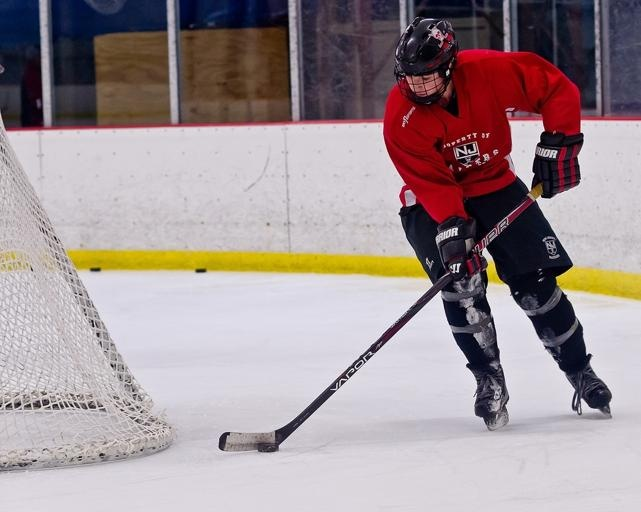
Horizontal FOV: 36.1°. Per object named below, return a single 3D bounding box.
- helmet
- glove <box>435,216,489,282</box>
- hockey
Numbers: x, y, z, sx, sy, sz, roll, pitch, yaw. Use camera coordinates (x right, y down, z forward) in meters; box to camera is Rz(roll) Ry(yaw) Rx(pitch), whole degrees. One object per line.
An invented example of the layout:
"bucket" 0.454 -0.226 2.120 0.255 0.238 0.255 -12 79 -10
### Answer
"helmet" 0.386 -0.713 3.486 0.234 0.237 0.290 9 41 26
"glove" 0.496 -0.023 3.442 0.162 0.230 0.082 -5 12 -10
"hockey" 0.291 0.283 4.380 0.085 1.631 0.224 48 6 -49
